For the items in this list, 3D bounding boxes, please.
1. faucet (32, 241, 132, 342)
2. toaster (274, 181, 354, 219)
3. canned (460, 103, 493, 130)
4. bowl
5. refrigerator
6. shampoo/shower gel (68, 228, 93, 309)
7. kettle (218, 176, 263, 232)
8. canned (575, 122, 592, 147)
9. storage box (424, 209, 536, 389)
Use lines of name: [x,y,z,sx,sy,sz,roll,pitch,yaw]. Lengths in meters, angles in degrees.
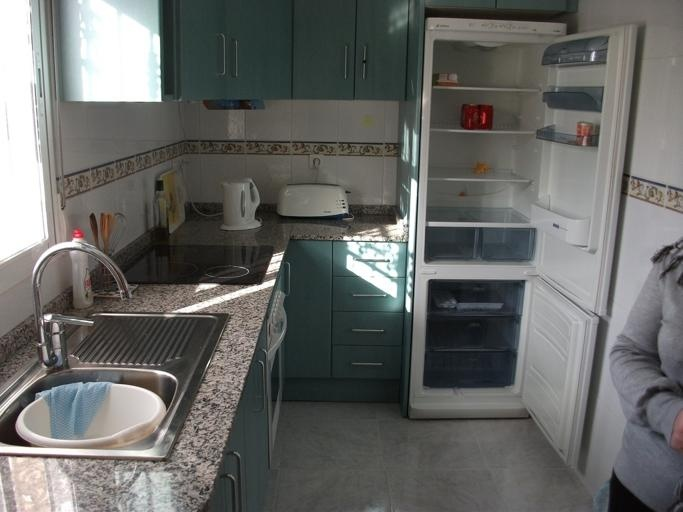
faucet: [-0.830,0.127,1.688,0.183,0.374,0.293,3,16,1]
toaster: [-0.202,-0.385,3.347,0.460,0.238,0.175,0,34,-14]
canned: [0.750,-0.770,2.862,0.172,0.125,0.183,6,20,13]
bowl: [-0.745,0.460,1.611,0.444,0.174,0.401,2,4,-22]
refrigerator: [0.802,-0.097,2.812,0.850,2.198,1.190,0,18,-1]
shampoo/shower gel: [-1.010,0.059,1.991,0.060,0.316,0.126,2,16,-1]
kettle: [-0.615,-0.312,3.154,0.212,0.339,0.203,0,18,-11]
canned: [1.101,-0.555,2.345,0.067,0.095,0.090,9,21,24]
storage box: [0.826,0.207,3.375,0.587,1.093,0.589,2,14,1]
